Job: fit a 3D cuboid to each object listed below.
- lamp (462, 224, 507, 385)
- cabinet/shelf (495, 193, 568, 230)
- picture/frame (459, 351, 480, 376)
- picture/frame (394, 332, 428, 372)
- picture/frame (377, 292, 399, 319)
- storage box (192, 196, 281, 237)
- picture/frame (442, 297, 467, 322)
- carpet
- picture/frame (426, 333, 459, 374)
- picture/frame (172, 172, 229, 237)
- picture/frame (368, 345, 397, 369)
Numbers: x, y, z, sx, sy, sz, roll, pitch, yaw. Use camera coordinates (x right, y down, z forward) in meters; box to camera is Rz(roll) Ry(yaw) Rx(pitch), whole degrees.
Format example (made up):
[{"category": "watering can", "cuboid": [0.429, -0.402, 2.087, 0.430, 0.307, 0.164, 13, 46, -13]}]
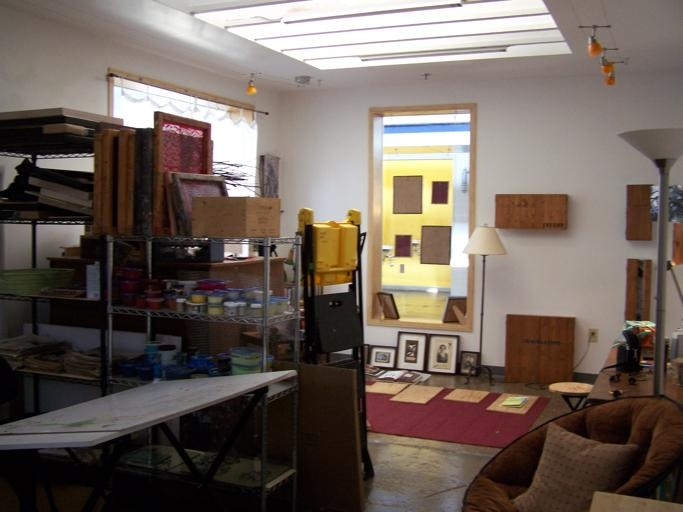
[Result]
[{"category": "lamp", "cuboid": [1.803, 0.597, 7.174, 0.501, 1.965, 0.564, 2, 5, 15]}, {"category": "cabinet/shelf", "cuboid": [2.431, -0.600, 7.136, 0.807, 0.465, 0.174, 2, -4, 16]}, {"category": "picture/frame", "cuboid": [1.690, 1.429, 7.383, 0.332, 0.379, 0.032, 2, -10, 21]}, {"category": "picture/frame", "cuboid": [0.952, 1.326, 7.579, 0.539, 0.618, 0.051, -2, -14, 25]}, {"category": "picture/frame", "cuboid": [0.638, 0.709, 7.917, 0.157, 0.379, 0.306, -3, 6, -40]}, {"category": "storage box", "cuboid": [-0.698, -0.266, 3.968, 0.392, 0.219, 0.386, 2, 3, 31]}, {"category": "picture/frame", "cuboid": [1.547, 0.750, 7.647, 0.378, 0.312, 0.095, -2, 13, -30]}, {"category": "carpet", "cuboid": [1.124, 1.645, 6.122, 1.936, 0.022, 1.728, -3, 5, 32]}, {"category": "picture/frame", "cuboid": [1.352, 1.330, 7.479, 0.552, 0.630, 0.047, 3, -10, 10]}, {"category": "picture/frame", "cuboid": [-1.096, -0.397, 4.314, 0.071, 0.494, 0.573, -3, 3, 30]}, {"category": "picture/frame", "cuboid": [0.562, 1.405, 7.681, 0.366, 0.288, 0.027, 0, -27, 15]}]
